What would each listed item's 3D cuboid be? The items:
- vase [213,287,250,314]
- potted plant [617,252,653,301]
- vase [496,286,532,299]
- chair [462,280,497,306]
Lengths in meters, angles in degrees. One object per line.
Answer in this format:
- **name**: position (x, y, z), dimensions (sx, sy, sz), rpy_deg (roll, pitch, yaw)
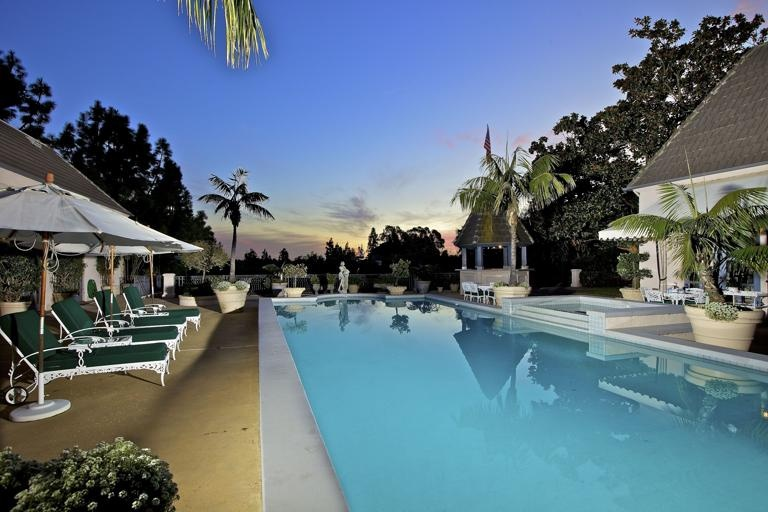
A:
- **vase**: position (-5.958, 1.648, 16.417), dimensions (1.027, 0.771, 0.989), rpy_deg (1, 2, -43)
- **potted plant**: position (11.520, 0.854, 19.504), dimensions (1.447, 2.245, 1.305), rpy_deg (-11, 9, -44)
- **vase**: position (5.557, 1.555, 18.427), dimensions (0.787, 0.345, 0.820), rpy_deg (0, 1, 34)
- **chair**: position (4.700, 1.855, 21.202), dimensions (1.141, 1.660, 1.068), rpy_deg (-2, 3, -20)
